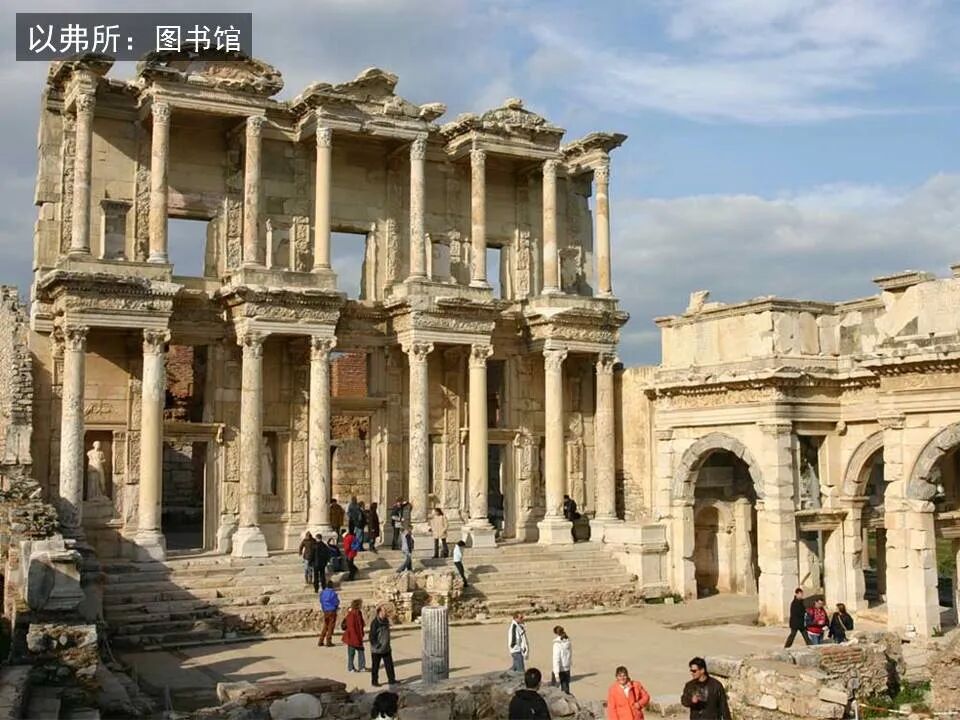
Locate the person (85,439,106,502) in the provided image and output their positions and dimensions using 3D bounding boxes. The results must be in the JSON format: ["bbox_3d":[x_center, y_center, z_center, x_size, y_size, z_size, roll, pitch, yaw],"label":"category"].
[{"bbox_3d":[-10.766,3.108,32.979,0.551,1.662,0.521,2,-1,-25],"label":"person"}]

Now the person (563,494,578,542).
[{"bbox_3d":[3.000,5.189,38.482,0.488,1.218,1.155,2,-1,4],"label":"person"}]

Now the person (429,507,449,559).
[{"bbox_3d":[-1.121,5.023,33.878,0.474,1.252,0.594,2,-1,-1],"label":"person"}]

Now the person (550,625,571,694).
[{"bbox_3d":[1.589,5.735,22.586,0.330,1.075,0.597,2,-1,-2],"label":"person"}]

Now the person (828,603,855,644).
[{"bbox_3d":[7.976,5.850,25.923,0.463,0.649,1.060,2,-1,16],"label":"person"}]
